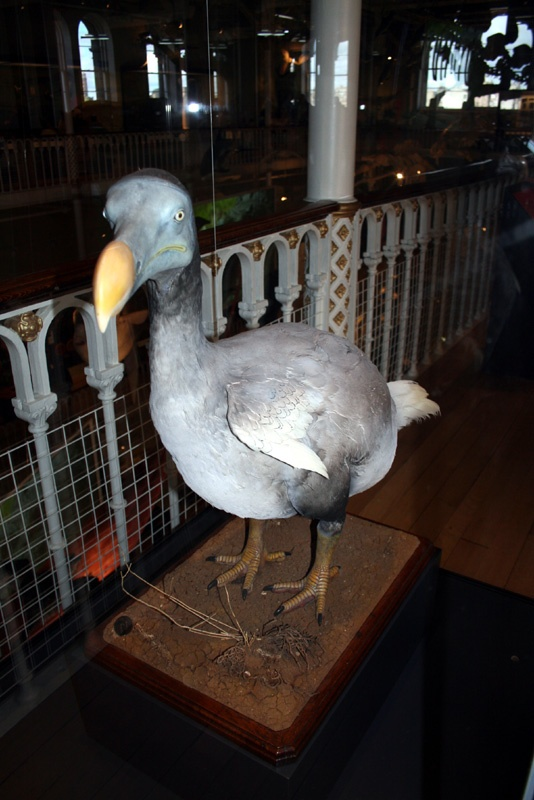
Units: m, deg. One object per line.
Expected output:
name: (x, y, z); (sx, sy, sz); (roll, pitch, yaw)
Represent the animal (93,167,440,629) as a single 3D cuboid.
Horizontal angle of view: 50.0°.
animal: (0.031, 0.006, 1.188); (0.870, 0.825, 0.435); (-16, 22, -41)
